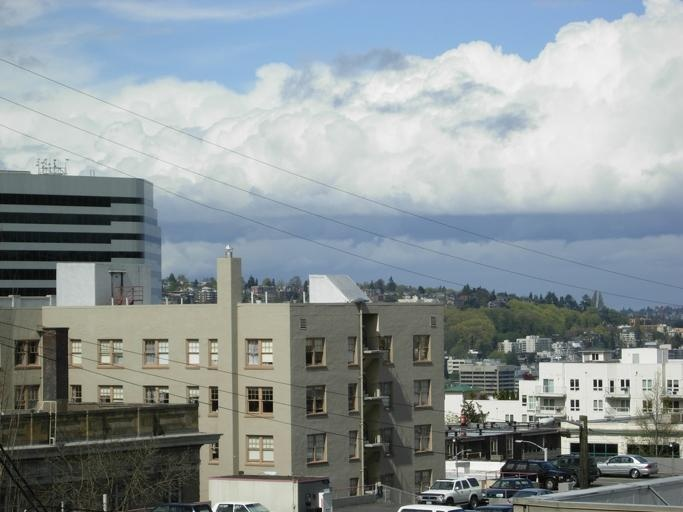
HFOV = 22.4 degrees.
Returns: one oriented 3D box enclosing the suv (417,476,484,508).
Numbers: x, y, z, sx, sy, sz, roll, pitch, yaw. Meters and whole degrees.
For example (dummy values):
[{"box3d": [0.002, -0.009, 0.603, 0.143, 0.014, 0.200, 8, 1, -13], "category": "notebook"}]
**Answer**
[{"box3d": [12.915, 26.756, 196.746, 7.106, 3.434, 3.051, 2, -9, -21], "category": "suv"}]
